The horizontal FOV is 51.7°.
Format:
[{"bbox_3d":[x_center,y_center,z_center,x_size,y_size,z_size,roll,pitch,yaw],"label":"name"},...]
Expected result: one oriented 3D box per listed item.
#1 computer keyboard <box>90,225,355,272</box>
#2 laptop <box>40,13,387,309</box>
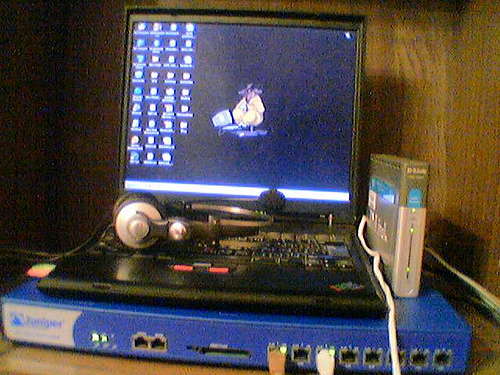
[{"bbox_3d":[-0.050,0.159,1.254,0.624,0.049,0.247,-1,22,-7],"label":"computer keyboard"},{"bbox_3d":[-0.045,-0.113,1.106,0.614,0.564,0.528,3,13,7],"label":"laptop"}]
